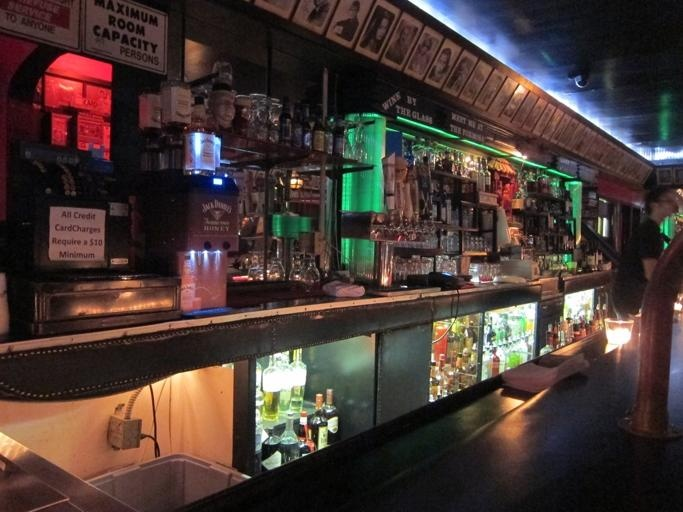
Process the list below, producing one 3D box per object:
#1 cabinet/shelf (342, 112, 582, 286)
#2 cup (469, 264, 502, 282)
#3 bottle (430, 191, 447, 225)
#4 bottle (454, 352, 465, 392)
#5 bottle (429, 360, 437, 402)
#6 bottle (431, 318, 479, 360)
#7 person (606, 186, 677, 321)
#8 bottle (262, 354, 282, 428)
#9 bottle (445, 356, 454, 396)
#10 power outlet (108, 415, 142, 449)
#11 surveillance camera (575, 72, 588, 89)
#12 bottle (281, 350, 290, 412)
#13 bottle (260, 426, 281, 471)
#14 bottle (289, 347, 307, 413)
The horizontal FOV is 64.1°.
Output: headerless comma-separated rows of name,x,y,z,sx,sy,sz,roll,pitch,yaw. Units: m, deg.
cabinet/shelf,1.389,-0.666,5.687,2.503,0.869,0.259,7,-9,-31
cup,1.438,0.157,5.433,0.254,0.167,0.235,2,1,0
bottle,0.913,-0.462,5.095,0.105,0.303,0.387,-1,1,17
bottle,1.067,1.054,4.928,0.092,0.350,0.110,8,12,25
bottle,0.767,1.032,4.586,0.050,0.333,0.144,-1,1,22
bottle,0.978,0.724,4.724,0.468,0.475,0.241,0,-2,-41
person,2.586,-0.035,4.607,0.539,1.161,1.371,-1,1,26
bottle,-0.427,0.814,3.343,0.143,0.329,0.107,-1,1,-26
bottle,0.948,1.028,4.795,0.089,0.305,0.230,-1,1,14
power outlet,-1.096,0.867,2.727,0.147,0.154,0.078,7,2,37
surveillance camera,2.686,-1.984,6.093,0.144,0.153,0.142,8,-10,-33
bottle,-0.363,0.792,3.444,0.062,0.294,0.188,-1,1,-7
bottle,-0.395,1.119,3.197,0.124,0.224,0.129,-8,11,2
bottle,-0.284,0.813,3.571,0.106,0.301,0.349,-1,1,-3
